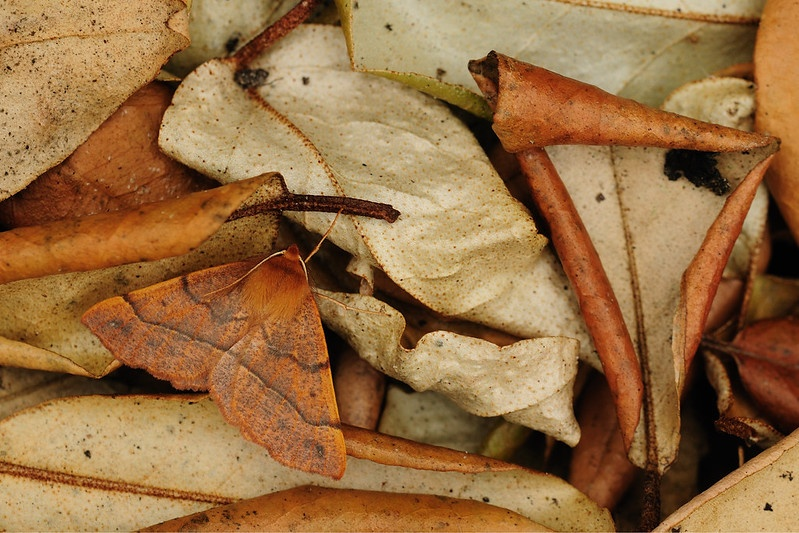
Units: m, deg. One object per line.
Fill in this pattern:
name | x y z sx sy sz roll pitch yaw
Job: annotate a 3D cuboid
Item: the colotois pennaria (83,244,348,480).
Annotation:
colotois pennaria | -0.315 0.214 1.829 0.394 0.089 0.417 -17 82 1
